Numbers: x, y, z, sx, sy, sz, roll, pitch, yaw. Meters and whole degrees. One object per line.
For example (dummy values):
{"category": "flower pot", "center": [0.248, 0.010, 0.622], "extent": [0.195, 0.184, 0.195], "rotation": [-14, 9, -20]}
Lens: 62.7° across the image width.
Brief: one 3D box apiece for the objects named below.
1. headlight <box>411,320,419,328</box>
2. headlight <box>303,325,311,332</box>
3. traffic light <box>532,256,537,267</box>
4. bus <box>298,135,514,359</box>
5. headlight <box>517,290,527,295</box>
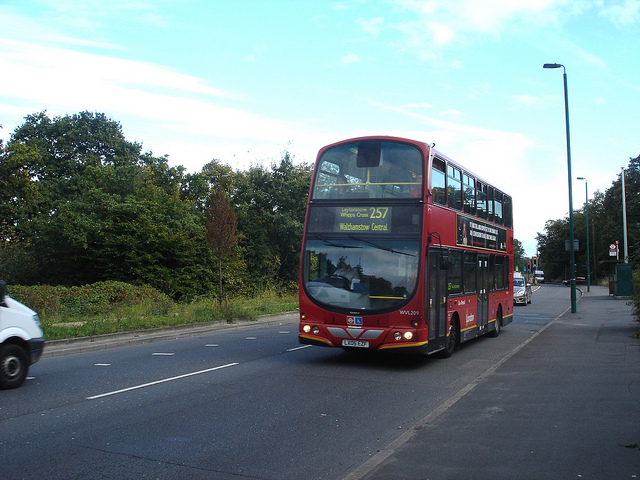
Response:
{"category": "headlight", "center": [2.144, 1.849, 11.787], "extent": [0.133, 0.159, 0.146], "rotation": [-2, -2, 5]}
{"category": "headlight", "center": [-0.290, 2.088, 12.587], "extent": [0.146, 0.174, 0.038], "rotation": [0, -5, 7]}
{"category": "traffic light", "center": [19.698, 1.937, 48.247], "extent": [0.322, 0.856, 1.129], "rotation": [0, -2, 15]}
{"category": "bus", "center": [3.555, 0.401, 16.827], "extent": [3.188, 5.665, 10.516], "rotation": [0, -4, 32]}
{"category": "headlight", "center": [13.545, 3.396, 34.989], "extent": [0.598, 0.283, 0.222], "rotation": [1, -2, -28]}
